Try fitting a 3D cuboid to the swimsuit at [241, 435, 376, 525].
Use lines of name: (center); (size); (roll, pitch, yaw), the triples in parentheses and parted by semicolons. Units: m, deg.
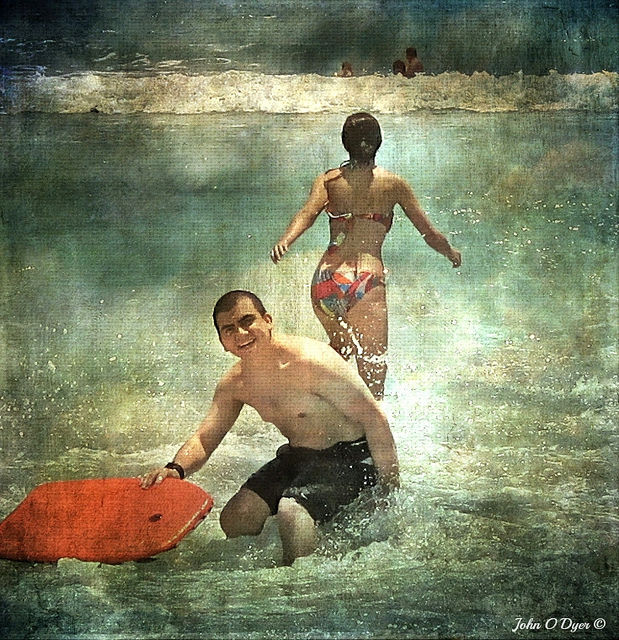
swimsuit: (0.036, 0.667, 3.969); (0.529, 0.248, 0.305); (-12, 13, -17)
